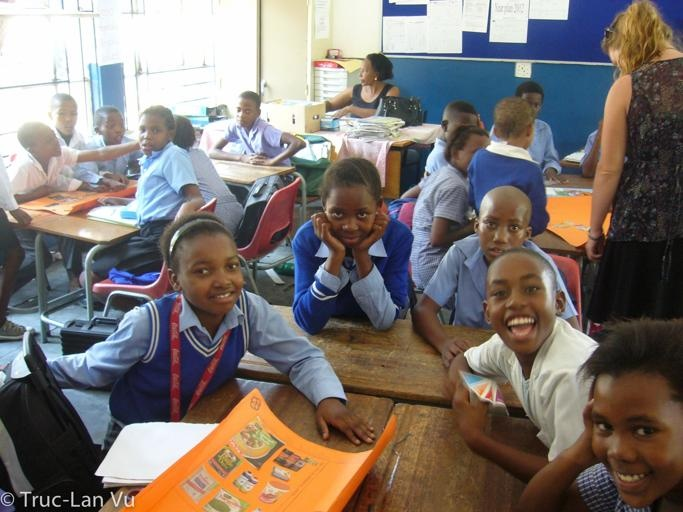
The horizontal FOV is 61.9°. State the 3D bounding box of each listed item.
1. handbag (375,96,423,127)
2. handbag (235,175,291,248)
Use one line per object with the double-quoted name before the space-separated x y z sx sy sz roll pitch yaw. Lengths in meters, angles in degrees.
"handbag" 0.565 -1.453 5.619 0.599 0.405 0.258 4 13 12
"handbag" -0.507 -0.286 3.345 0.125 0.422 0.322 20 -8 -21
